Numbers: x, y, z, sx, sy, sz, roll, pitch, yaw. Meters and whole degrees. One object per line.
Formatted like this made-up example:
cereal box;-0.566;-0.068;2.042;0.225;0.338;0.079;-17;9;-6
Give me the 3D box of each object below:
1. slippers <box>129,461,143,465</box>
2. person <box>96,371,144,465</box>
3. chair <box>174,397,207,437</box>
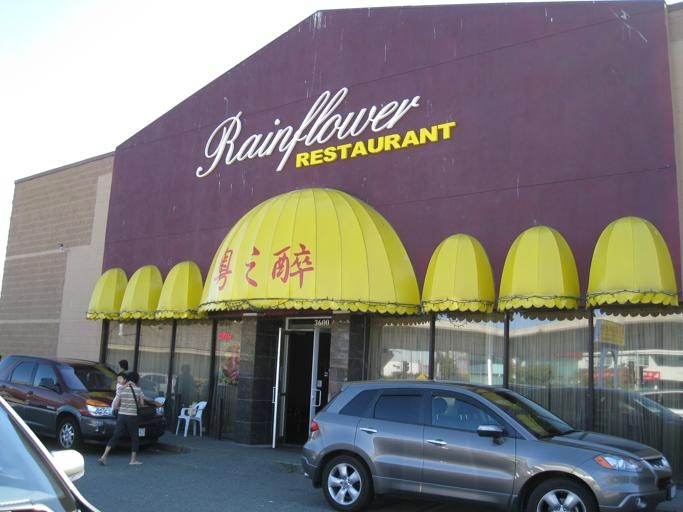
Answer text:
slippers;-4.554;4.535;13.533;0.253;0.086;0.339;6;-16;-18
person;-4.872;3.594;13.671;0.724;1.926;0.914;-5;-15;22
chair;-4.583;4.813;18.419;0.901;1.383;0.916;-10;-17;39
